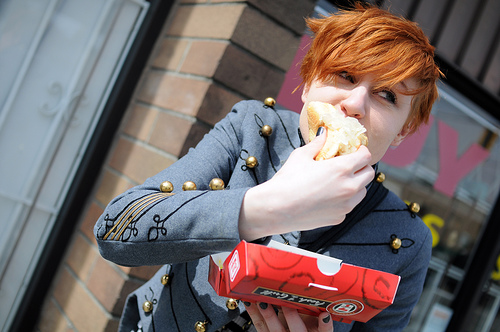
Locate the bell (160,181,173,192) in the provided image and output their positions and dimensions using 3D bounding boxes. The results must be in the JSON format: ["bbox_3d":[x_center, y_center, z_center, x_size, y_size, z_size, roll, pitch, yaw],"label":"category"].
[{"bbox_3d":[-0.302,0.074,1.891,0.033,0.043,0.036,-3,2,0],"label":"bell"}]

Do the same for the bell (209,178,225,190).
[{"bbox_3d":[-0.122,0.068,1.924,0.042,0.041,0.048,-30,-21,20],"label":"bell"}]

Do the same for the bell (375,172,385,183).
[{"bbox_3d":[0.528,0.052,2.146,0.030,0.043,0.041,17,-4,-5],"label":"bell"}]

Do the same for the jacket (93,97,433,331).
[{"bbox_3d":[0.025,0.192,2.003,0.654,0.799,0.493,35,23,-5],"label":"jacket"}]

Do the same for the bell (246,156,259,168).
[{"bbox_3d":[0.012,-0.018,2.042,0.038,0.046,0.038,-25,31,-12],"label":"bell"}]

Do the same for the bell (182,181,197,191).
[{"bbox_3d":[-0.220,0.072,1.892,0.037,0.033,0.030,-6,13,10],"label":"bell"}]

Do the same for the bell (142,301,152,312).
[{"bbox_3d":[-0.403,0.552,2.054,0.032,0.029,0.038,23,29,19],"label":"bell"}]

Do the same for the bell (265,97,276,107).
[{"bbox_3d":[0.084,-0.265,2.184,0.037,0.047,0.038,-5,3,-5],"label":"bell"}]

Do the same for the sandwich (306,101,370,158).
[{"bbox_3d":[0.315,-0.134,1.907,0.192,0.203,0.068,5,-33,-13],"label":"sandwich"}]

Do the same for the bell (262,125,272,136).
[{"bbox_3d":[0.068,-0.141,2.058,0.031,0.038,0.030,19,36,-21],"label":"bell"}]

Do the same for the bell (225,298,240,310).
[{"bbox_3d":[-0.068,0.518,1.960,0.051,0.043,0.028,13,-11,-1],"label":"bell"}]
